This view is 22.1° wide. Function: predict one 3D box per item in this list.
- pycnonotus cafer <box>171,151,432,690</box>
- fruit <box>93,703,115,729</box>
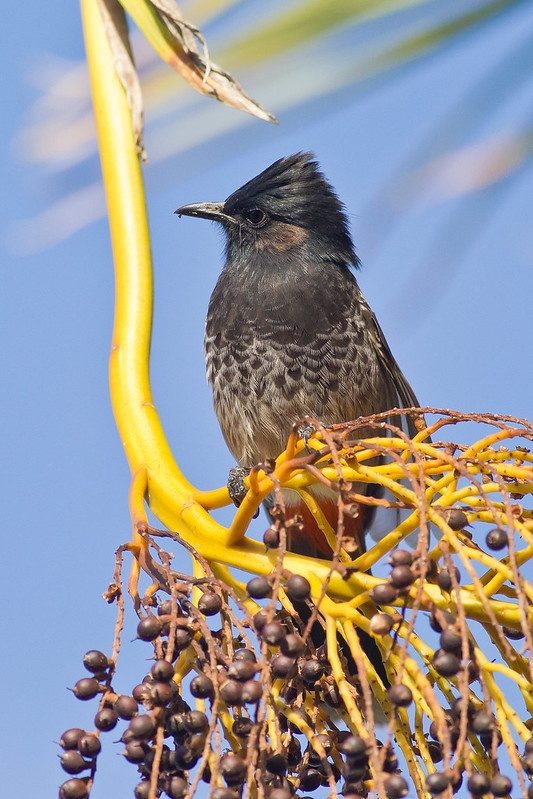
[{"bbox_3d":[0.182,-0.054,3.535,0.611,1.110,0.425,-3,-9,-46],"label":"pycnonotus cafer"},{"bbox_3d":[-0.216,0.438,1.862,0.028,0.028,0.020,-3,-41,1],"label":"fruit"}]
